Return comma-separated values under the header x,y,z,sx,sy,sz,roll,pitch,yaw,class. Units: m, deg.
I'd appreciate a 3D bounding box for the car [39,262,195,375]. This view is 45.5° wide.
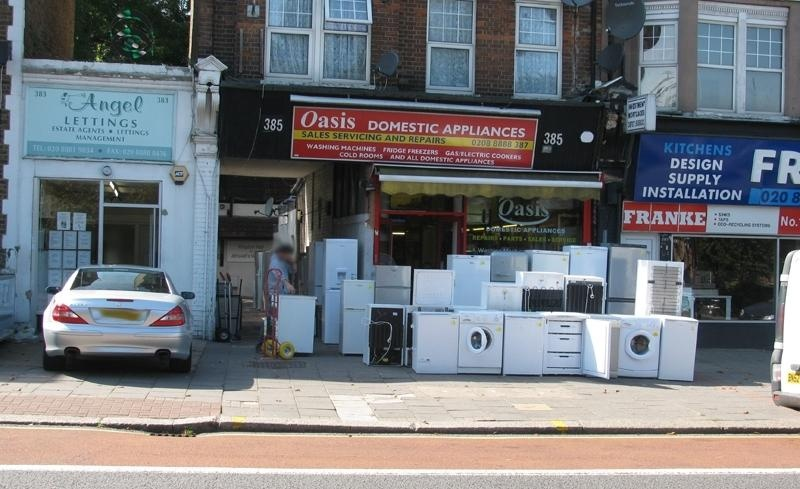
x,y,z,sx,sy,sz,roll,pitch,yaw,class
-6.615,1.303,22.367,3.397,1.991,5.968,3,6,-21,car

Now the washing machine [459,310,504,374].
x,y,z,sx,sy,sz,roll,pitch,yaw,class
1.903,2.251,22.052,0.875,1.528,1.078,1,-1,0,washing machine

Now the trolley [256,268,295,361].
x,y,z,sx,sy,sz,roll,pitch,yaw,class
-2.962,1.679,22.785,0.969,2.222,0.803,-3,-2,24,trolley
